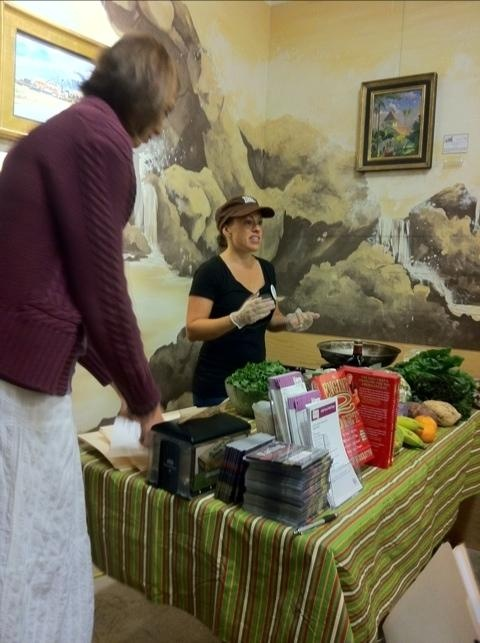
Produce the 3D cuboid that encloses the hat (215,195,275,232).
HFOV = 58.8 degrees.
[{"bbox_3d":[0.009,-0.650,2.379,0.274,0.120,0.201,-22,-19,40],"label":"hat"}]

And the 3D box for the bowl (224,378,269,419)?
[{"bbox_3d":[0.019,0.235,1.413,0.121,0.088,0.125,23,-6,3],"label":"bowl"}]

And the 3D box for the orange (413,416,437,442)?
[{"bbox_3d":[0.582,0.324,1.354,0.068,0.069,0.072,1,18,6],"label":"orange"}]

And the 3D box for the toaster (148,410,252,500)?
[{"bbox_3d":[-0.086,0.288,0.966,0.140,0.144,0.213,6,2,34],"label":"toaster"}]
